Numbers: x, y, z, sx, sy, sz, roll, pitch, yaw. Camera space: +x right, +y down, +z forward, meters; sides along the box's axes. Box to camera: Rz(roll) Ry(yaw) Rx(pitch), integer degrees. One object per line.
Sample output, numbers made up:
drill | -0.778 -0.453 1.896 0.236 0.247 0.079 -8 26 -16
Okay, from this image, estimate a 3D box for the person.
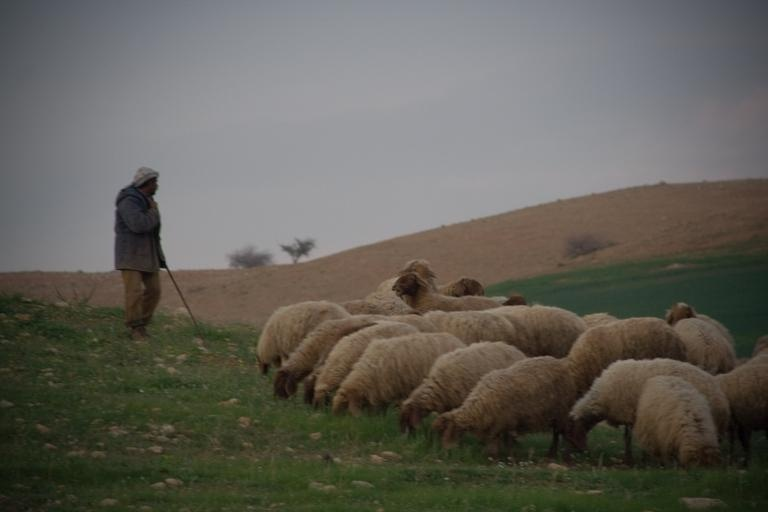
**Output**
person | -4.672 -0.035 14.979 0.747 3.179 0.931 8 13 4
